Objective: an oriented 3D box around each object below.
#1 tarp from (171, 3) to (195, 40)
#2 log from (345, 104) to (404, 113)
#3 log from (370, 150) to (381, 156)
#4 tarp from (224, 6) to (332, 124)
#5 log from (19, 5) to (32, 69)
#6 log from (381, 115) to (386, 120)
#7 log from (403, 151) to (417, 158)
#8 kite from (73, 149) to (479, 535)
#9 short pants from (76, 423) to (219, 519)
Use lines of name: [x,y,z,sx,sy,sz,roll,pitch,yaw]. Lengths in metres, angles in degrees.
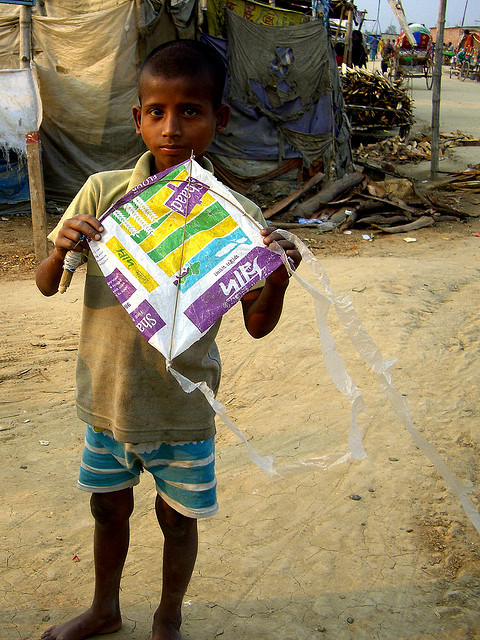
tarp: [-0.831,-4.423,9.416,0.243,0.494,0.399,7,16,16]
log: [2.929,-4.960,14.935,0.355,0.104,1.781,13,17,41]
log: [3.352,-4.111,15.645,0.227,0.056,0.201,-4,14,-42]
tarp: [0.626,-4.056,10.317,1.939,1.681,0.217,-6,18,-29]
log: [-2.886,-3.791,8.534,0.157,0.829,0.440,-3,16,-18]
log: [3.571,-5.040,15.838,0.048,0.113,0.181,13,17,32]
log: [4.085,-3.966,15.272,0.233,0.069,0.163,-2,13,-32]
kite: [-0.010,-0.005,1.751,0.555,1.426,0.126,-39,-18,-8]
short pants: [-0.250,0.346,1.767,0.411,0.290,0.146,5,-7,12]
